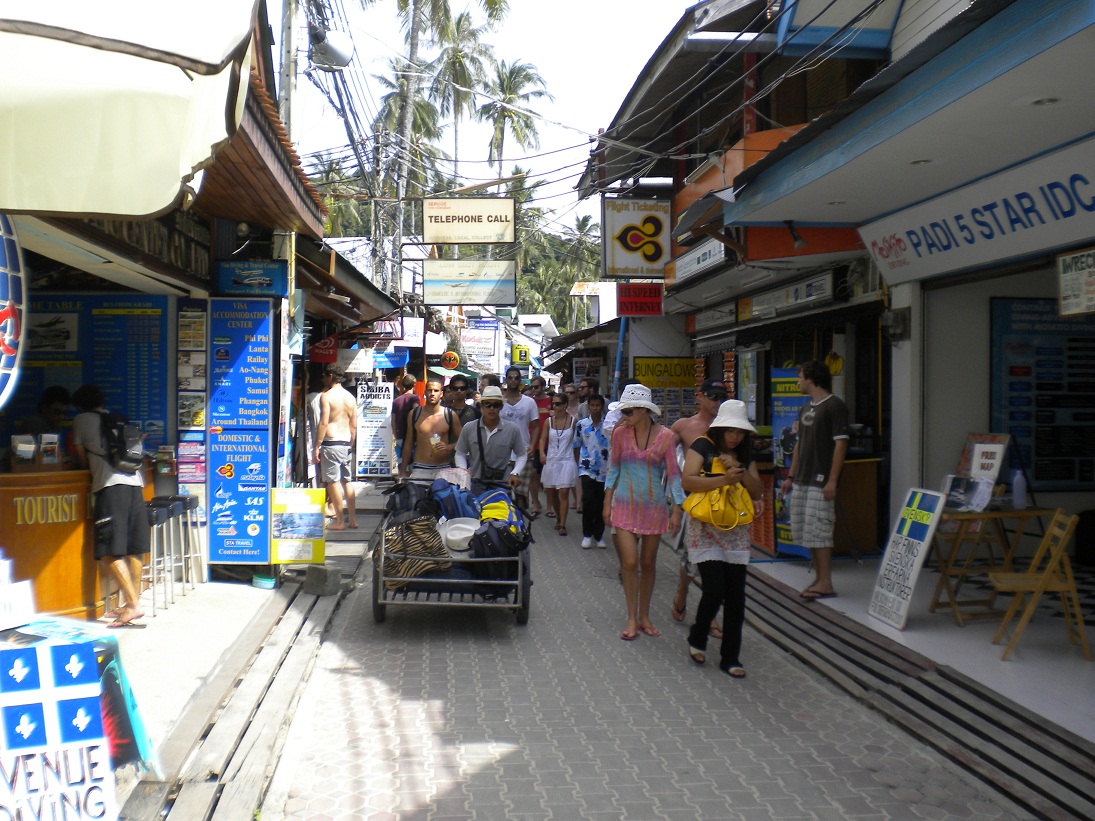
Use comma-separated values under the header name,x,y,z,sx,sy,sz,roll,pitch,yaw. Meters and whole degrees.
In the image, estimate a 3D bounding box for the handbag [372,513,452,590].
name,x,y,z,sx,sy,sz,roll,pitch,yaw
handbag,-1.163,1.171,7.211,0.543,0.590,0.248,-6,-12,-7

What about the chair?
name,x,y,z,sx,sy,sz,roll,pitch,yaw
chair,4.142,1.303,7.348,0.719,1.168,2.290,3,5,28

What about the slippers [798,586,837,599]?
name,x,y,z,sx,sy,sz,roll,pitch,yaw
slippers,2.593,1.732,8.356,0.313,0.091,0.126,4,-7,-13

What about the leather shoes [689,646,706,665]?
name,x,y,z,sx,sy,sz,roll,pitch,yaw
leather shoes,1.155,1.872,6.732,0.117,0.130,0.128,1,5,8

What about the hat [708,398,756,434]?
name,x,y,z,sx,sy,sz,roll,pitch,yaw
hat,1.402,0.053,6.666,0.246,0.152,0.279,5,-11,0

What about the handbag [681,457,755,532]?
name,x,y,z,sx,sy,sz,roll,pitch,yaw
handbag,1.283,0.620,6.518,0.488,0.583,0.289,2,3,9

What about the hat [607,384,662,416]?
name,x,y,z,sx,sy,sz,roll,pitch,yaw
hat,0.729,-0.089,7.384,0.291,0.175,0.278,5,-3,15

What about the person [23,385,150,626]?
name,x,y,z,sx,sy,sz,roll,pitch,yaw
person,-3.564,0.786,7.174,0.521,1.966,0.391,-2,6,-23

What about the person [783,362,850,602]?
name,x,y,z,sx,sy,sz,roll,pitch,yaw
person,2.635,0.664,8.513,0.480,2.226,0.695,1,5,8

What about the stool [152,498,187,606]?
name,x,y,z,sx,sy,sz,roll,pitch,yaw
stool,-3.606,1.447,8.283,0.333,0.603,0.351,4,2,-41

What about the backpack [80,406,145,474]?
name,x,y,z,sx,sy,sz,roll,pitch,yaw
backpack,-3.456,0.262,7.178,0.523,0.552,0.406,-6,3,-5

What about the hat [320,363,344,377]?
name,x,y,z,sx,sy,sz,roll,pitch,yaw
hat,-3.383,-0.634,13.780,0.456,0.242,0.639,0,3,-8

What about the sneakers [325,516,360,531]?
name,x,y,z,sx,sy,sz,roll,pitch,yaw
sneakers,-2.807,1.558,12.145,0.516,0.239,0.182,4,-2,-4

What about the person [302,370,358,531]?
name,x,y,z,sx,sy,sz,roll,pitch,yaw
person,-2.912,0.540,11.872,0.568,2.185,0.673,-1,5,-16
